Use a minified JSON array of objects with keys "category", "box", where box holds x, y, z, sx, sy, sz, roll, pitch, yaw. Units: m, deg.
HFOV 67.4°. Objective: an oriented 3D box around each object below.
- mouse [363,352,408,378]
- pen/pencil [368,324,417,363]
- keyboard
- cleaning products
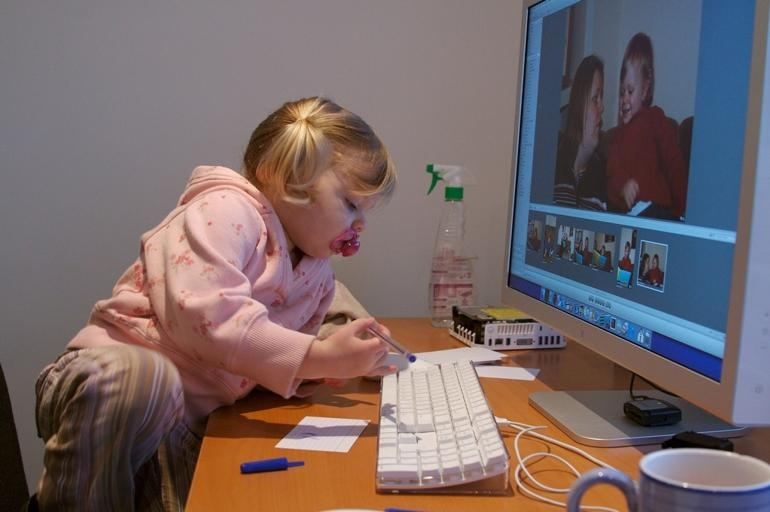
[{"category":"mouse","box":[-0.001,0.192,1.006,0.064,0.035,0.034,3,51,12]},{"category":"pen/pencil","box":[0.013,0.168,1.093,0.108,0.021,0.018,39,43,17]},{"category":"keyboard","box":[0.071,0.251,0.901,0.188,0.061,0.369,4,9,3]},{"category":"cleaning products","box":[0.175,-0.045,1.552,0.137,0.395,0.303,1,12,8]}]
